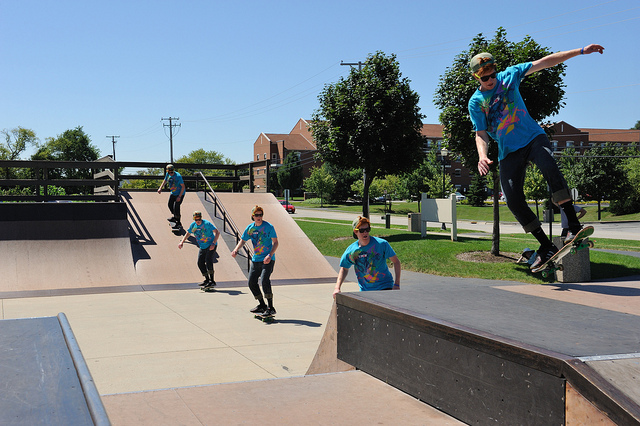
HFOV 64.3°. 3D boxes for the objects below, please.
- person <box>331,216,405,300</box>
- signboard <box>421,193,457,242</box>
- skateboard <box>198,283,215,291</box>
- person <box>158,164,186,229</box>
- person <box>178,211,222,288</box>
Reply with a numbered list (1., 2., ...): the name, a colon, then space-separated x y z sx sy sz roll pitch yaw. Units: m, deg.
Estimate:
1. person: 1.094 0.958 11.870 1.383 2.442 1.026 -15 0 10
2. signboard: 5.174 0.169 22.532 2.125 1.902 0.217 3 -7 -31
3. skateboard: -2.760 1.768 12.192 0.433 0.115 0.256 2 3 21
4. person: -4.622 -0.561 16.143 0.577 2.003 1.518 -1 4 -19
5. person: -2.878 0.872 12.395 0.654 1.863 0.926 -2 4 -33
